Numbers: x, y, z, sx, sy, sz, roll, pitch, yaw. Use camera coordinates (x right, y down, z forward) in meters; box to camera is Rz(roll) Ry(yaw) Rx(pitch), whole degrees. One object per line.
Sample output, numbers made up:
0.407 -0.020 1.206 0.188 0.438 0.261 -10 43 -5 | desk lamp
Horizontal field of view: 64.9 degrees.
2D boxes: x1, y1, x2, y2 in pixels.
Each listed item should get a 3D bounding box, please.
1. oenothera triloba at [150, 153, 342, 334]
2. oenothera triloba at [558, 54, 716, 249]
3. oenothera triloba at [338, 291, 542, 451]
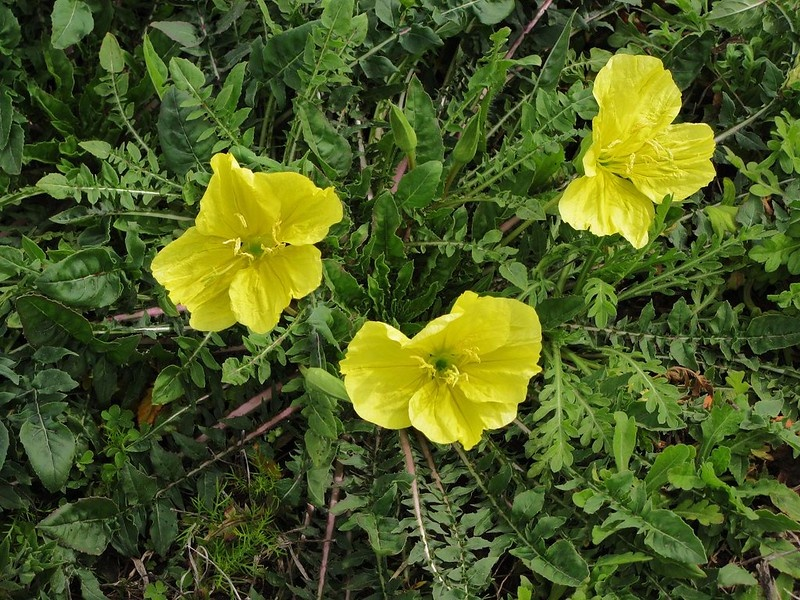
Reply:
-0.468 -0.217 1.996 0.537 0.575 0.186 -31 49 9 | oenothera triloba
0.792 -0.513 2.183 0.262 0.565 0.616 -17 57 -18 | oenothera triloba
0.099 0.156 1.963 0.548 0.271 0.616 -37 46 29 | oenothera triloba
